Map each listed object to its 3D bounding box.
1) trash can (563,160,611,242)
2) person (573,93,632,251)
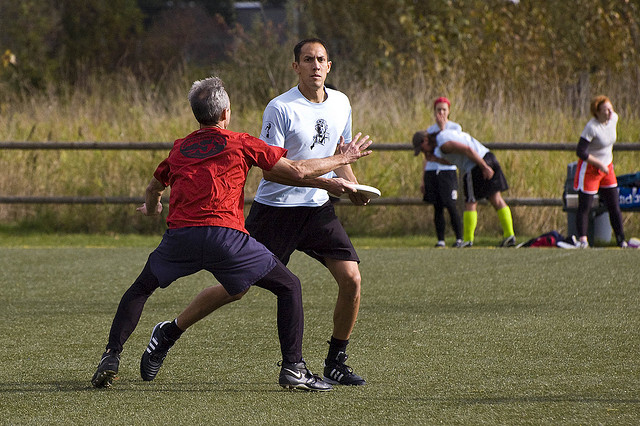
[{"bbox_3d":[4.228,-0.077,22.063,0.731,1.418,0.854,-4,21,5],"label":"trash can"},{"bbox_3d":[4.169,-0.573,21.085,0.721,2.290,0.572,3,3,12],"label":"person"}]
